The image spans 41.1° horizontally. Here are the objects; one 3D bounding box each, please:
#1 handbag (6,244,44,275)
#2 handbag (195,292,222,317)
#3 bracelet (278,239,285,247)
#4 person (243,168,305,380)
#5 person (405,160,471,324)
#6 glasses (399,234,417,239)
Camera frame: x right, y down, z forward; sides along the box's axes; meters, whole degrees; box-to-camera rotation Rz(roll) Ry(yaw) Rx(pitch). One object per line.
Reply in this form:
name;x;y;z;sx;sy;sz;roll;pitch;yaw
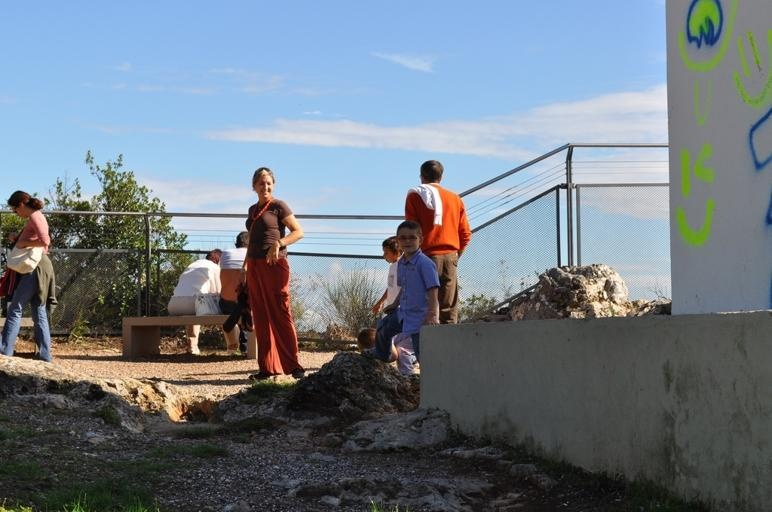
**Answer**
handbag;-3.789;0.044;10.898;0.250;0.331;0.138;8;-12;-26
handbag;-2.163;0.592;12.543;0.283;0.305;0.218;-13;-6;11
bracelet;-1.039;-0.120;10.304;0.066;0.075;0.048;-8;-21;33
person;-1.125;0.205;10.473;0.562;2.165;0.438;-2;5;-8
person;0.519;-0.036;10.256;0.569;1.888;0.571;-3;21;-6
glasses;0.201;-0.162;9.301;0.139;0.042;0.043;0;5;5
